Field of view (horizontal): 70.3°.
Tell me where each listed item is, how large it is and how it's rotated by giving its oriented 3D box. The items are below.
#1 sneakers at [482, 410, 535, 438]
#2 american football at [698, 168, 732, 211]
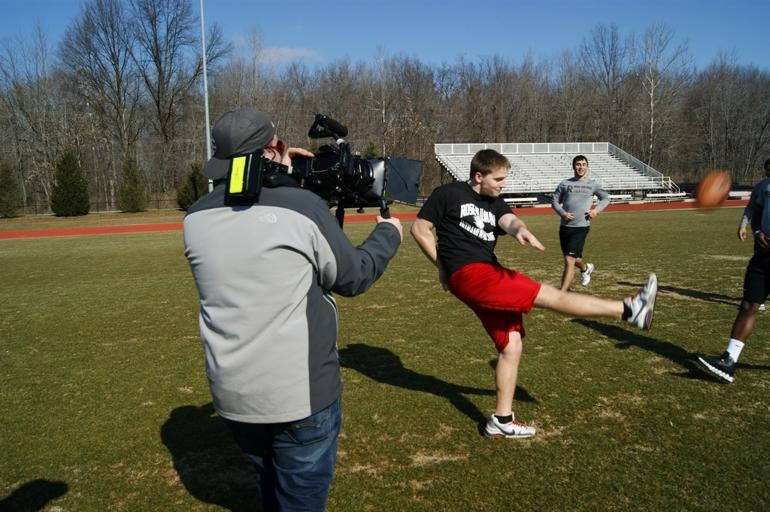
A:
[{"bbox_3d":[1.221,1.731,5.547,0.586,0.259,0.205,0,3,-8],"label":"sneakers"},{"bbox_3d":[4.171,-0.816,6.982,0.575,0.391,0.313,-42,36,-19],"label":"american football"}]
